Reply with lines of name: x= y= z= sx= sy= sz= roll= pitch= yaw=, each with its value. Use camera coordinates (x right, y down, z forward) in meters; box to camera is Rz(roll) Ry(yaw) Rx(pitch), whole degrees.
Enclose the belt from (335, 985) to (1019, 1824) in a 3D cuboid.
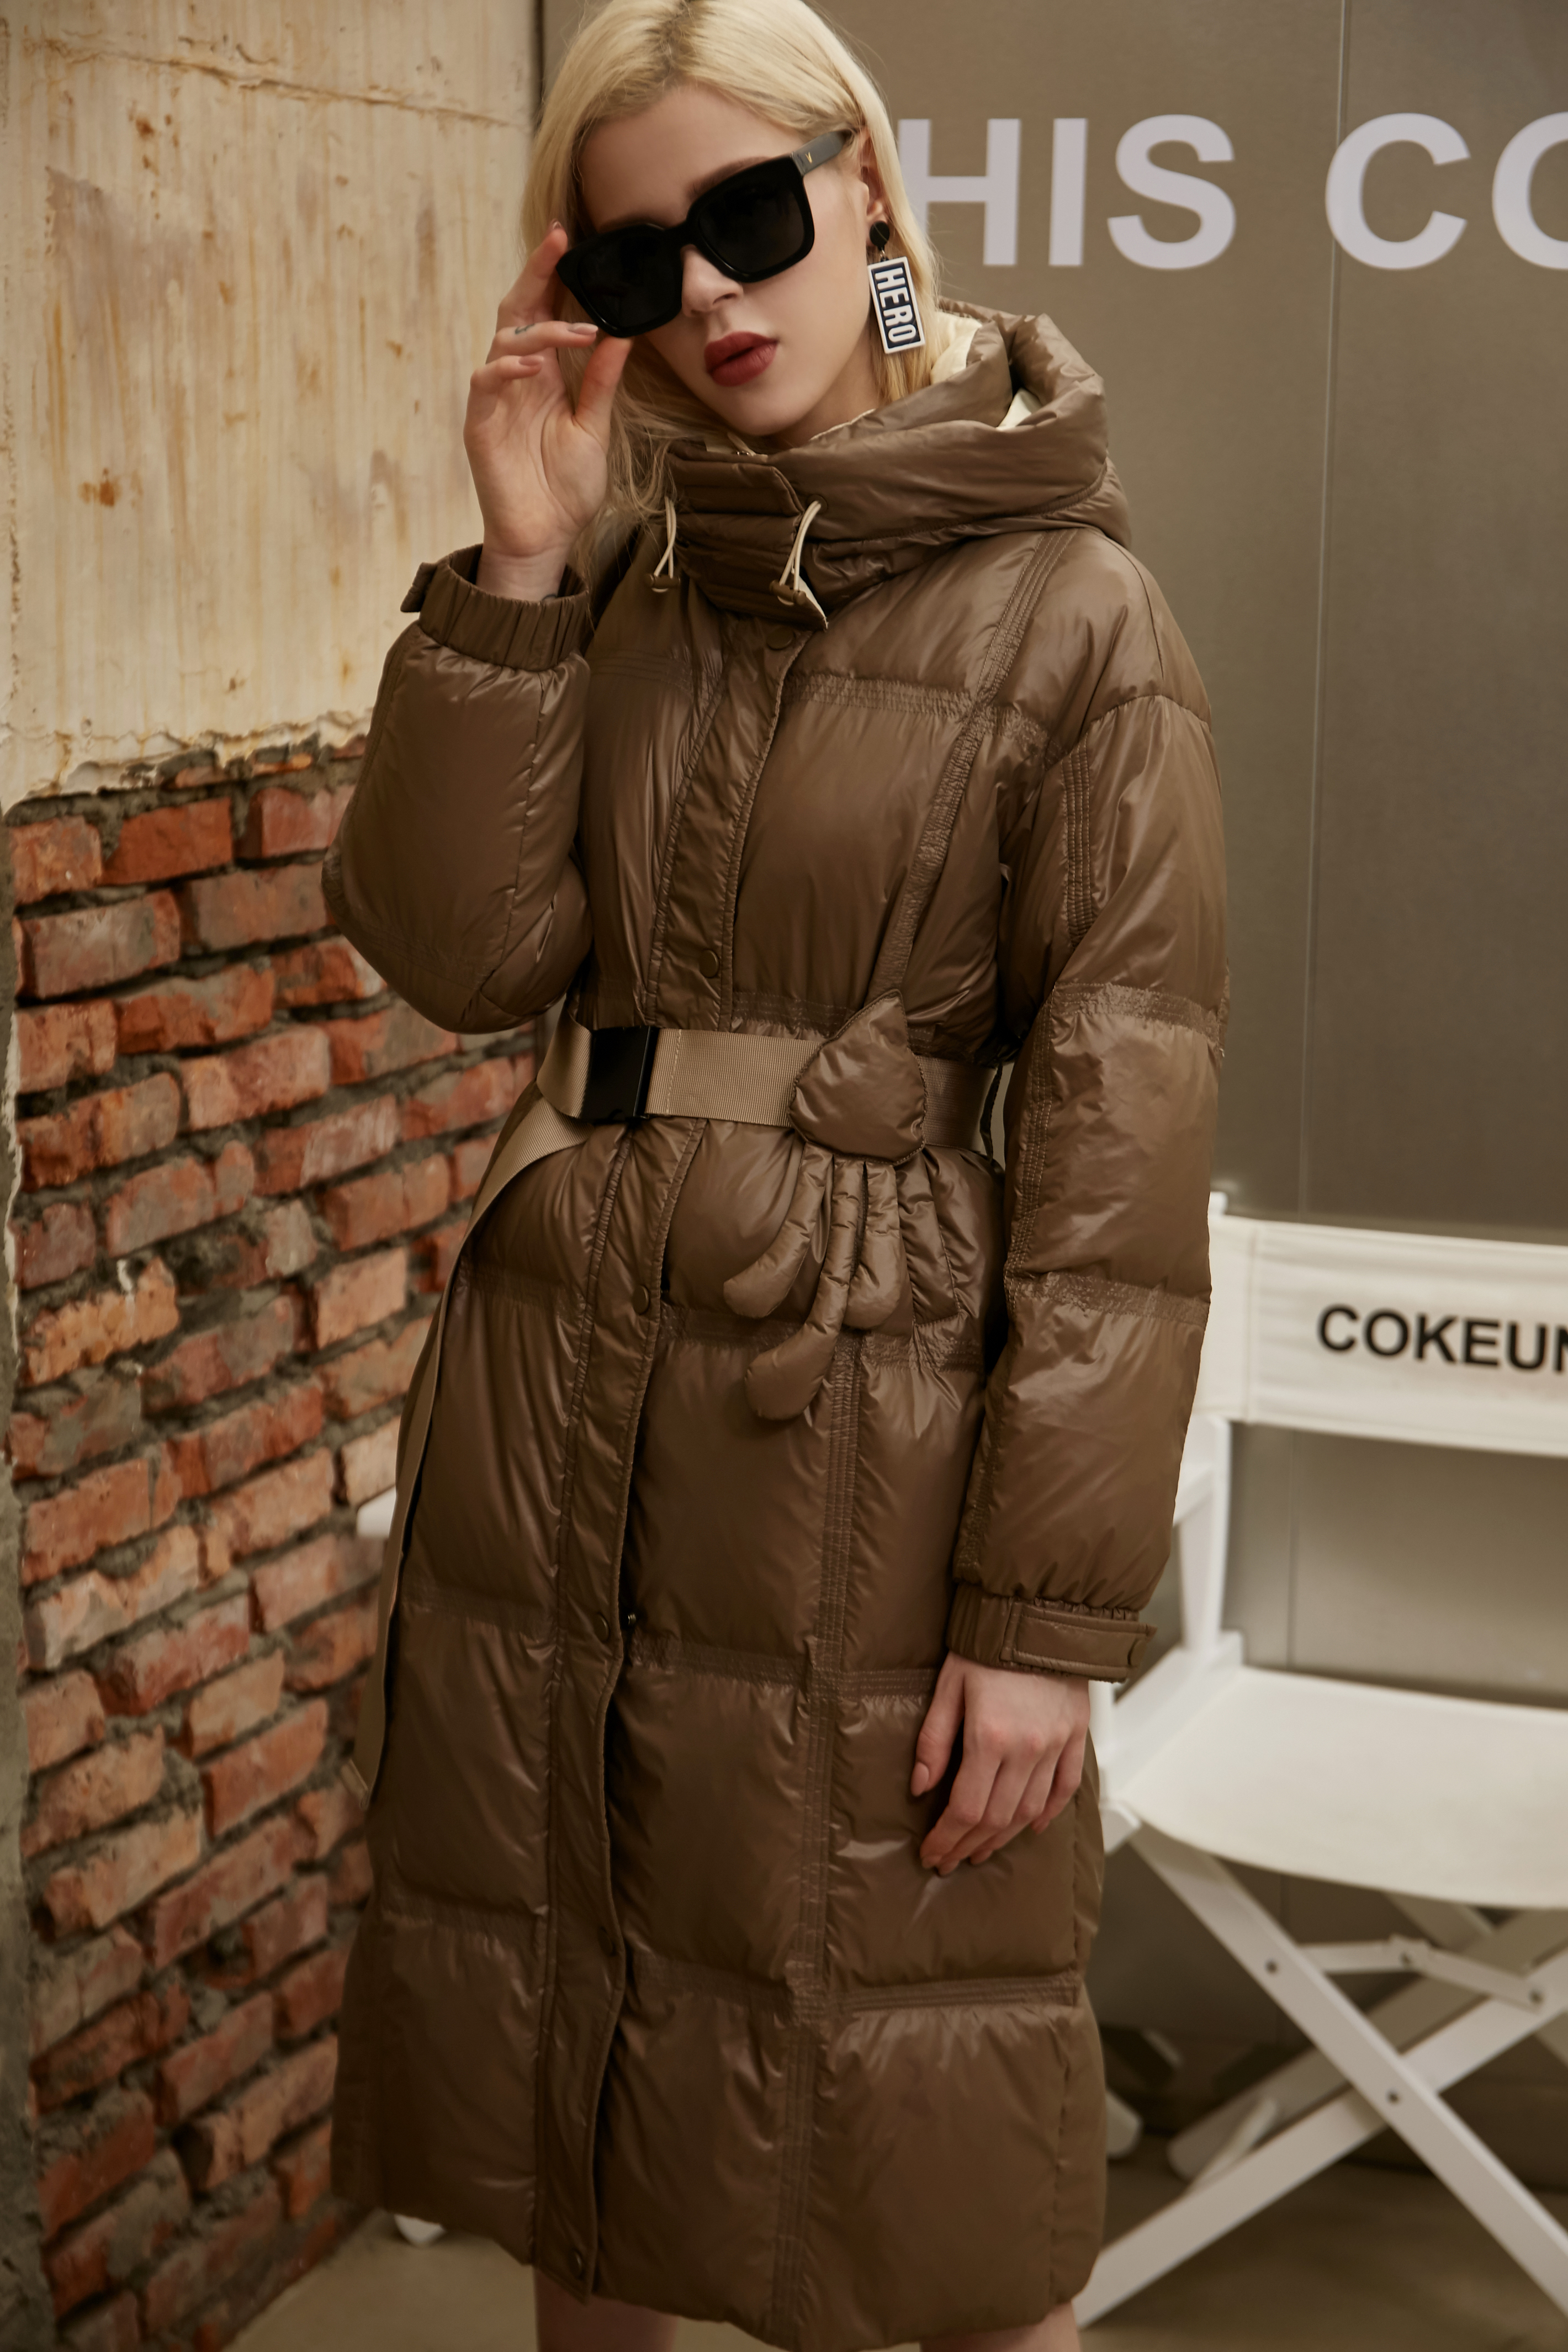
belt: x=-0.063 y=0.097 z=1.078 sx=0.438 sy=0.442 sz=0.121 roll=7 pitch=0 yaw=12
